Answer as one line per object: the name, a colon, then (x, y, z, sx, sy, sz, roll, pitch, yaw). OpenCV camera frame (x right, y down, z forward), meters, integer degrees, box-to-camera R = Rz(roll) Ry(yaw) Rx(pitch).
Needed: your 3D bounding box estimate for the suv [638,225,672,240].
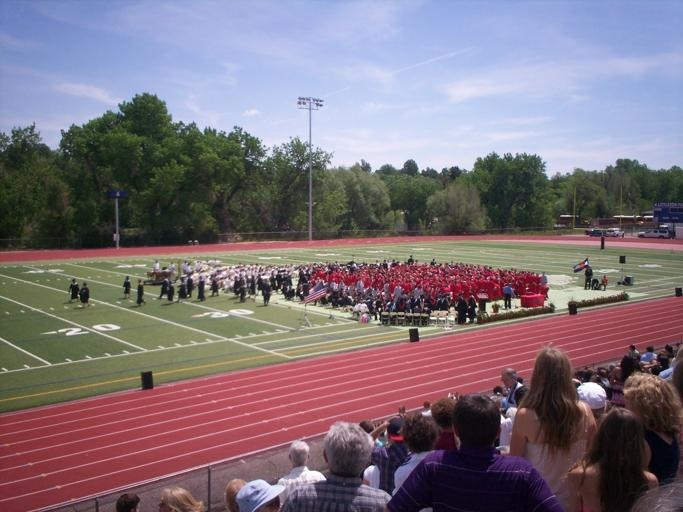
suv: (36.145, -2.595, 80.335, 3.367, 1.759, 1.978, 2, 4, 19)

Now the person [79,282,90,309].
person: (-12.982, 1.985, 35.246, 0.415, 1.005, 1.215, 0, 0, -21)

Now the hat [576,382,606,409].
hat: (4.130, 2.360, 11.613, 0.394, 0.402, 0.699, 0, 0, 44)

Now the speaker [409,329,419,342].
speaker: (2.847, 3.155, 27.564, 0.248, 0.463, 0.508, -3, -2, 34)

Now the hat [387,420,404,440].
hat: (0.870, 2.837, 11.239, 0.259, 0.185, 0.351, -2, 9, -11)

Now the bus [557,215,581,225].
bus: (38.523, -6.137, 118.531, 3.232, 1.790, 3.088, 2, 6, 31)

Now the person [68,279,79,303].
person: (-13.937, 1.857, 36.387, 0.387, 0.952, 0.869, 0, 0, -27)

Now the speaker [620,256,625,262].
speaker: (20.830, 0.252, 51.845, 0.400, 0.437, 0.404, 2, 7, 0)
